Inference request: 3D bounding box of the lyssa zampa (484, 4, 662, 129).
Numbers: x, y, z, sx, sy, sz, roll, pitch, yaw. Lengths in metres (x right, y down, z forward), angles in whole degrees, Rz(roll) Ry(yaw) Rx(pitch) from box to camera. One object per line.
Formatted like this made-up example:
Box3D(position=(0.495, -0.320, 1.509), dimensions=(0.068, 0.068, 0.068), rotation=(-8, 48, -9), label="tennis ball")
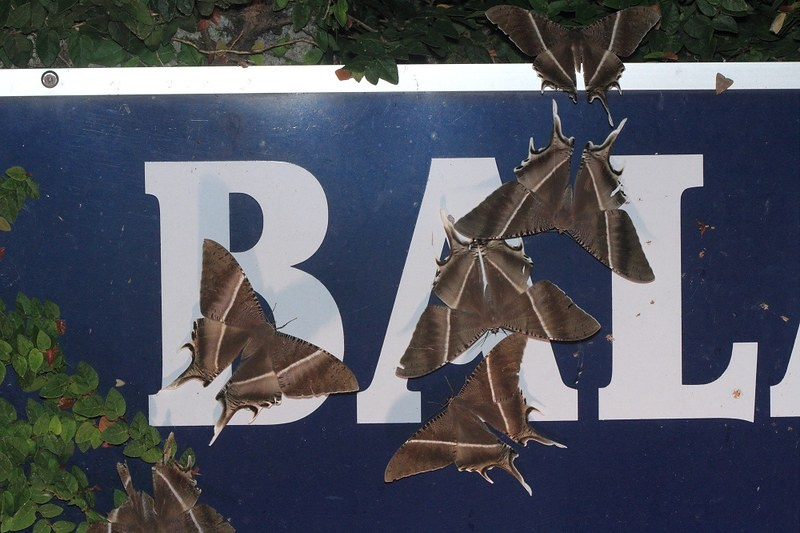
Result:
Box3D(position=(0.528, -0.588, 5.051), dimensions=(0.440, 0.093, 0.330), rotation=(-3, 95, 3), label="lyssa zampa")
